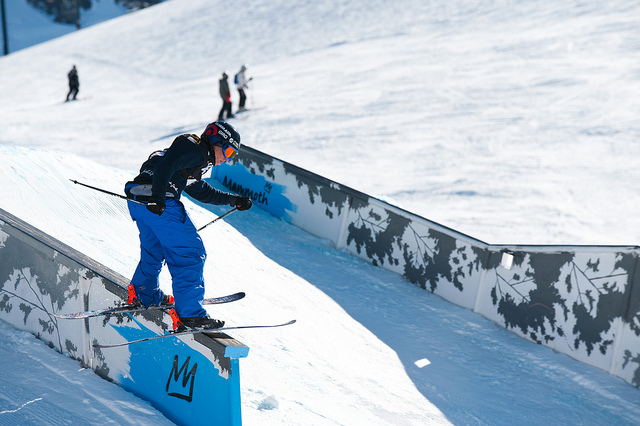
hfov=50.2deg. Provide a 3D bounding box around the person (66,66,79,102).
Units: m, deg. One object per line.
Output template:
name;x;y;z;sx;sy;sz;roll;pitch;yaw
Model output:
person;-8.274;-4.363;23.000;0.483;1.196;1.820;-10;17;-18

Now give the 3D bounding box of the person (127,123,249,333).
person;-1.893;0.144;9.044;1.190;2.517;1.099;2;18;18

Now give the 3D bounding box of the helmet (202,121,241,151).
helmet;-1.252;-1.055;9.090;0.474;0.354;0.341;23;6;-8

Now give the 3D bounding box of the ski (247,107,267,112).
ski;-2.144;-3.647;23.893;0.919;0.117;0.064;-8;-14;-8
